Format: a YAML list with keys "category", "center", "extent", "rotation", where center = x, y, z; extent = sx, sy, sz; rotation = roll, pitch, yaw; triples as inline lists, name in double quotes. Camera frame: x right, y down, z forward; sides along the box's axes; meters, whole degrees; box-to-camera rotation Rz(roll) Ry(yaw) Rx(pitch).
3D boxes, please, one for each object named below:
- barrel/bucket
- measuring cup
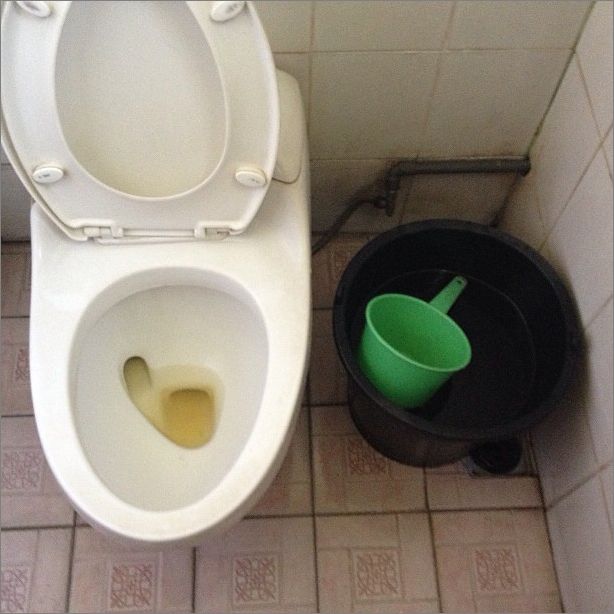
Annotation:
- category: "barrel/bucket"
  center: [0.269, 0.051, 1.182]
  extent: [0.367, 0.330, 0.487]
  rotation: [-7, 69, -4]
- category: "measuring cup"
  center: [0.182, 0.070, 1.054]
  extent: [0.180, 0.199, 0.268]
  rotation: [15, 69, -1]
